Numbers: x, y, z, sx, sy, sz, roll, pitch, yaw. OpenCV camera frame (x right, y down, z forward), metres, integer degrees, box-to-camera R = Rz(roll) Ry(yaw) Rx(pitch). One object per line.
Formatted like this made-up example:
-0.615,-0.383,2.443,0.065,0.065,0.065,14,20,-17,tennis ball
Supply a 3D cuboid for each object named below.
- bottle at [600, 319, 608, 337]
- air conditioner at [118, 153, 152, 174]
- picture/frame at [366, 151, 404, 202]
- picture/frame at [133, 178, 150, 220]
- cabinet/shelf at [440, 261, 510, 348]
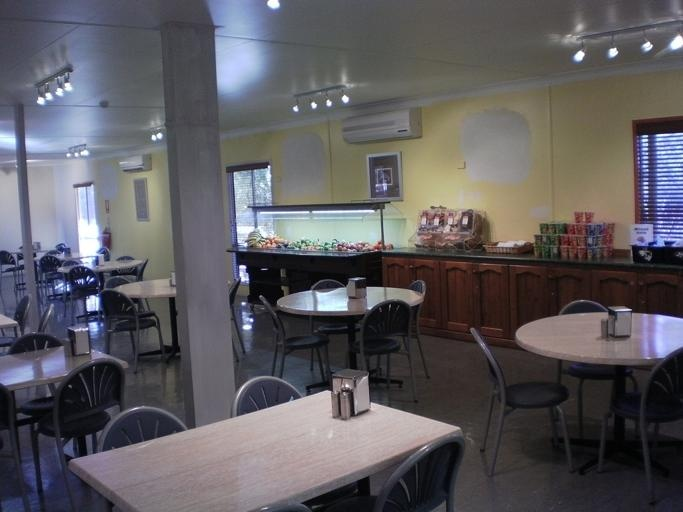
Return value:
1.781,0.483,3.632,0.052,0.125,0.050,-3,2,0,bottle
-4.562,-2.049,11.986,0.911,0.310,0.217,-2,2,39,air conditioner
0.644,-1.162,7.741,0.716,0.841,0.089,4,10,40,picture/frame
-4.558,-1.282,12.222,0.671,0.776,0.052,-1,3,44,picture/frame
1.567,0.539,6.201,0.933,0.924,0.482,2,4,40,cabinet/shelf
